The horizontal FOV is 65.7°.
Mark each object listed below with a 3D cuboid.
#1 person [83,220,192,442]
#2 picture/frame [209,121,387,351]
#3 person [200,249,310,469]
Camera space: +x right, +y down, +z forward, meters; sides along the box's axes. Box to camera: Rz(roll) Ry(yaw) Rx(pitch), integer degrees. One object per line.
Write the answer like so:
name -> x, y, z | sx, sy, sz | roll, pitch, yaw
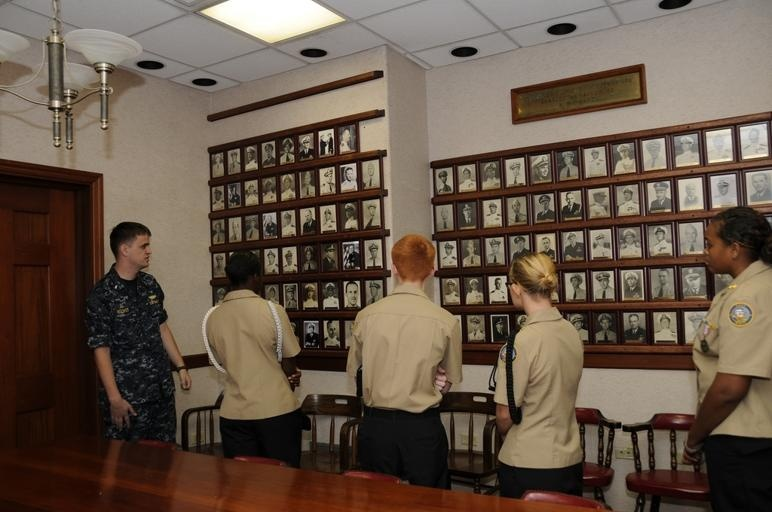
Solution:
person -> -1.960, 0.616, 4.706 | 0.714, 1.763, 0.371 | 2, -2, -44
picture/frame -> -0.738, -0.188, 5.537 | 2.420, 2.539, 0.199 | -2, -3, 26
person -> -0.972, 1.090, 4.593 | 0.777, 2.128, 0.723 | -4, 1, 0
